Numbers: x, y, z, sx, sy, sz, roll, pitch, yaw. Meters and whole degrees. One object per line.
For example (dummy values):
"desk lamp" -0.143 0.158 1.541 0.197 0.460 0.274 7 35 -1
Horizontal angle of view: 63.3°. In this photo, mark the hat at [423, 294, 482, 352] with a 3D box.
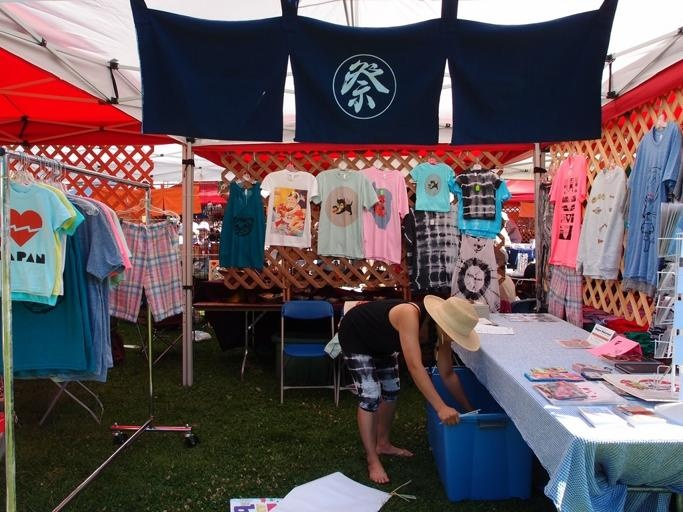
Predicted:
"hat" 0.658 0.404 3.387 0.350 0.308 0.301 4 10 17

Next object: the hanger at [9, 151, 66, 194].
"hanger" -1.837 -0.509 3.342 0.280 0.230 0.978 -4 11 -27

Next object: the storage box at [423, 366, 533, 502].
"storage box" 0.850 1.158 3.629 0.455 0.415 0.749 -1 6 0

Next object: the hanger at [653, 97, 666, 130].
"hanger" 2.238 -0.995 3.891 0.078 0.220 0.372 6 11 29
